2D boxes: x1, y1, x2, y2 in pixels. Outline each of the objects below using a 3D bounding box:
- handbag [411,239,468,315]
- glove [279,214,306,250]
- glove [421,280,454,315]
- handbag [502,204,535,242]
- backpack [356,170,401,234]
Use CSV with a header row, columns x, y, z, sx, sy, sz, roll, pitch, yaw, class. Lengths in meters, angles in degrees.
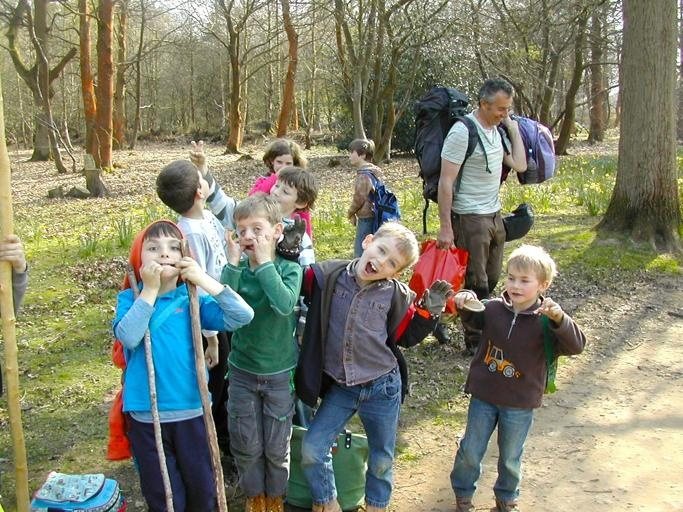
x,y,z,sx,sy,sz,roll,pitch,yaw,class
0.861,0.256,6.241,0.499,0.737,0.381,18,-17,5,handbag
-0.353,-0.140,4.604,0.143,0.236,0.113,15,-21,-3,glove
0.657,0.264,4.582,0.179,0.234,0.089,32,3,-6,glove
1.752,-0.343,6.723,0.356,0.378,0.294,1,-1,10,handbag
0.410,-0.603,7.463,0.403,0.777,0.320,9,33,20,backpack
